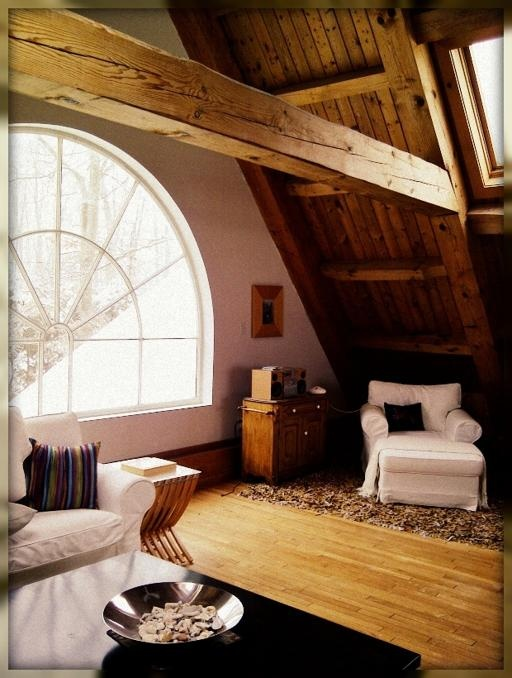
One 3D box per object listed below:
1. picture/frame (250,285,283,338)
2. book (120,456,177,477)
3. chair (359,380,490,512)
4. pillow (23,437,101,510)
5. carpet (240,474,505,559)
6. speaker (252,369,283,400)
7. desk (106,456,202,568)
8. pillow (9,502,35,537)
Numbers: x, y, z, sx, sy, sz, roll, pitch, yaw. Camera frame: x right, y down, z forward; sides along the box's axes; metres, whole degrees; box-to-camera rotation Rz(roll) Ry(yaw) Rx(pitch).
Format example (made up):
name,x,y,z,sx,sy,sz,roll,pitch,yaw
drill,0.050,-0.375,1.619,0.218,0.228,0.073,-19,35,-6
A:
name,x,y,z,sx,sy,sz,roll,pitch,yaw
picture/frame,0.090,-0.278,4.943,0.040,0.530,0.533,2,4,42
book,-0.642,0.753,3.046,0.212,0.048,0.200,3,4,42
chair,1.336,0.848,4.252,0.885,0.803,1.080,0,-5,13
pillow,-0.966,0.674,2.551,0.369,0.320,0.132,10,-27,-33
carpet,0.931,1.284,4.035,1.916,0.040,0.839,1,1,32
speaker,0.087,0.395,4.543,0.281,0.261,0.269,-2,-3,23
desk,-0.556,0.961,3.262,0.576,0.635,0.646,1,-3,31
pillow,-0.990,0.759,2.185,0.096,0.131,0.116,0,1,-24
